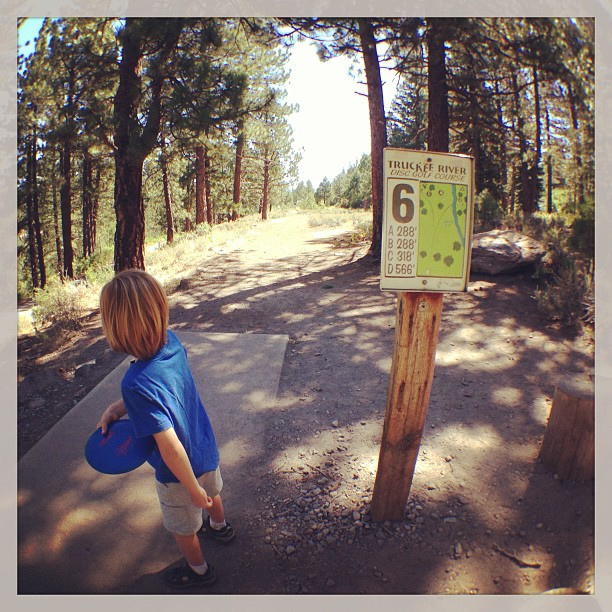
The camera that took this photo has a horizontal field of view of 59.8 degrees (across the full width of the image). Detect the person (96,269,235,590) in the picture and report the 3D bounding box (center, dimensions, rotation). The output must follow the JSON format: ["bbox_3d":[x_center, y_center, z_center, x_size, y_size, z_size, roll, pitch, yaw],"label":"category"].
[{"bbox_3d":[-0.918,0.867,3.458,0.808,2.212,0.647,-5,10,-23],"label":"person"}]

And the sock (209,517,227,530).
[{"bbox_3d":[-0.645,1.573,3.846,0.085,0.048,0.071,12,-15,-5],"label":"sock"}]

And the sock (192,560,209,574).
[{"bbox_3d":[-0.717,1.787,3.612,0.061,0.081,0.074,-6,5,-44],"label":"sock"}]

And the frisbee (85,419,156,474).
[{"bbox_3d":[-1.158,0.873,3.292,0.423,0.312,0.233,2,10,21],"label":"frisbee"}]
